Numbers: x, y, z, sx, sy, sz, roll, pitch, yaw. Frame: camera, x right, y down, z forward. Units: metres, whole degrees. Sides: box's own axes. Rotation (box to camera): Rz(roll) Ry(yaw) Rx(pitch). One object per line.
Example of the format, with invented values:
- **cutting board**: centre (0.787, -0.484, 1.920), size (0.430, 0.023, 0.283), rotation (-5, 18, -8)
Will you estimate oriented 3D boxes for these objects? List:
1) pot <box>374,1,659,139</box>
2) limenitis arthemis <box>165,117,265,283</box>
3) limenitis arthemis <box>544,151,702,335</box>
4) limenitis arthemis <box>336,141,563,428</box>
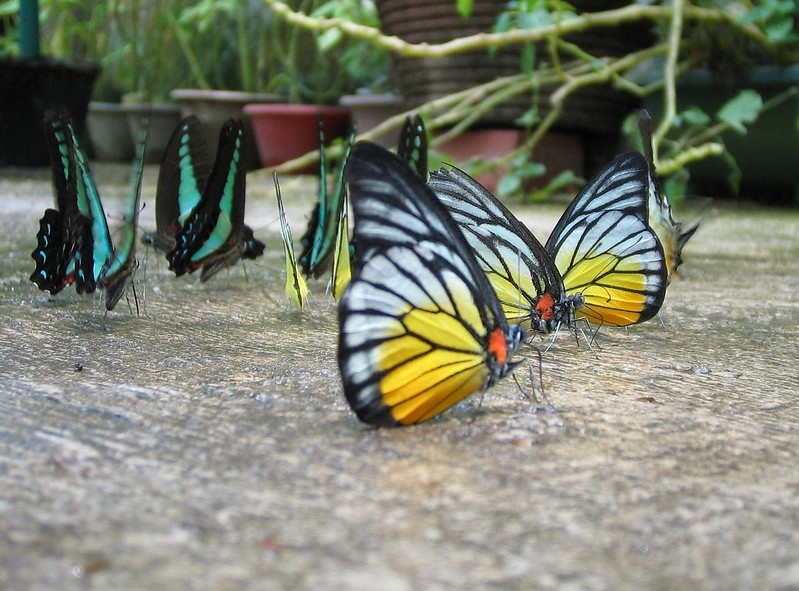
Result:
- **pot**: centre (0.639, -1.244, 5.063), size (1.106, 0.677, 0.949), rotation (6, 14, 28)
- **limenitis arthemis**: centre (-0.516, -0.246, 2.493), size (0.210, 0.469, 0.349), rotation (0, 16, -13)
- **limenitis arthemis**: centre (0.500, -0.109, 2.321), size (0.433, 0.237, 0.441), rotation (-21, -1, 10)
- **limenitis arthemis**: centre (0.047, -0.018, 1.774), size (0.511, 0.474, 0.505), rotation (-7, 4, -22)
